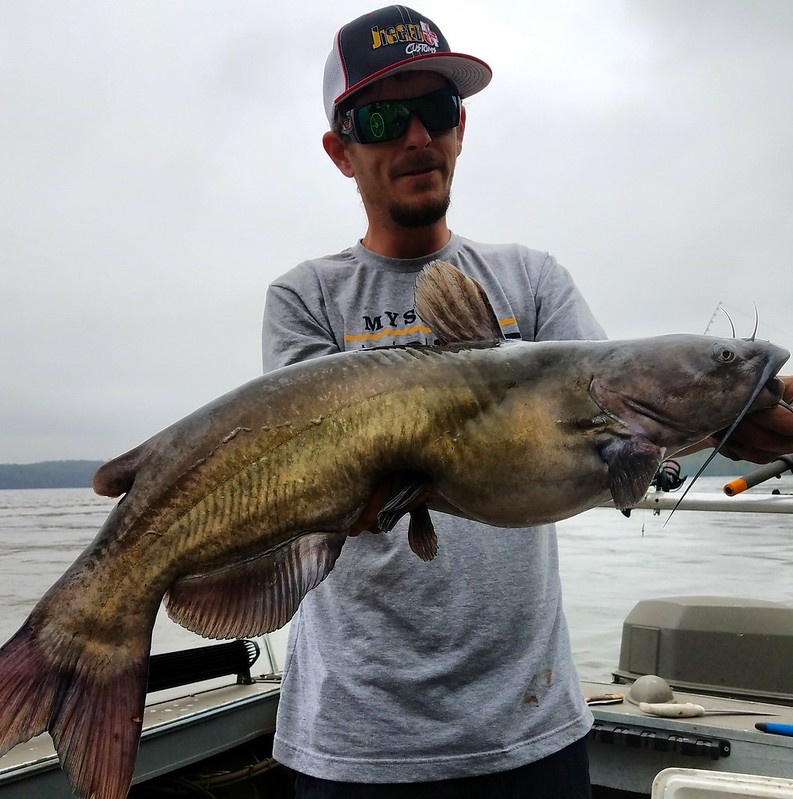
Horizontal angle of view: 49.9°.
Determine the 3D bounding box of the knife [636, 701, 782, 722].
[{"bbox_3d":[1.814,1.712,4.666,0.966,0.077,0.174,1,-25,3],"label":"knife"}]
